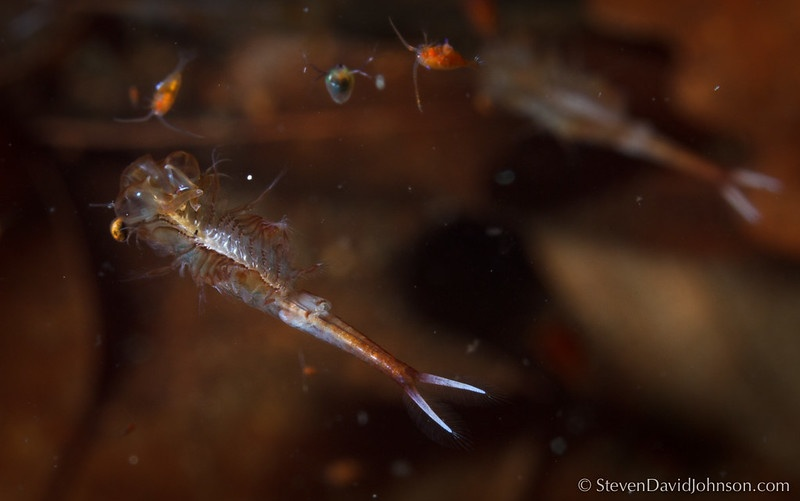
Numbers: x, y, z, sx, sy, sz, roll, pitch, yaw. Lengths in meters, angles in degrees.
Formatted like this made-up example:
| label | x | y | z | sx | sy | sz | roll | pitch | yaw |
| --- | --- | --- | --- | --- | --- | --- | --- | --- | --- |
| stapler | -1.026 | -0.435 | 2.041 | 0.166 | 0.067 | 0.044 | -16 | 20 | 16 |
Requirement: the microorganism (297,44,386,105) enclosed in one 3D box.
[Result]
| label | x | y | z | sx | sy | sz | roll | pitch | yaw |
| --- | --- | --- | --- | --- | --- | --- | --- | --- | --- |
| microorganism | -0.430 | -1.198 | 6.030 | 0.624 | 0.445 | 0.271 | 4 | 91 | -7 |

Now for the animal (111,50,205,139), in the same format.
| label | x | y | z | sx | sy | sz | roll | pitch | yaw |
| --- | --- | --- | --- | --- | --- | --- | --- | --- | --- |
| animal | -1.721 | -1.117 | 6.187 | 0.412 | 0.745 | 0.629 | 4 | 88 | -8 |
